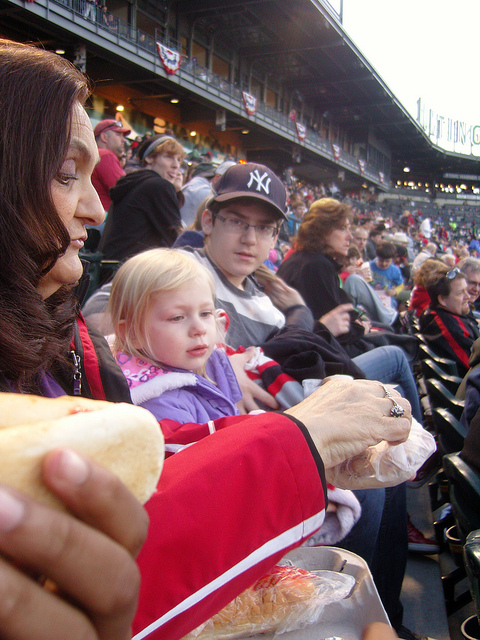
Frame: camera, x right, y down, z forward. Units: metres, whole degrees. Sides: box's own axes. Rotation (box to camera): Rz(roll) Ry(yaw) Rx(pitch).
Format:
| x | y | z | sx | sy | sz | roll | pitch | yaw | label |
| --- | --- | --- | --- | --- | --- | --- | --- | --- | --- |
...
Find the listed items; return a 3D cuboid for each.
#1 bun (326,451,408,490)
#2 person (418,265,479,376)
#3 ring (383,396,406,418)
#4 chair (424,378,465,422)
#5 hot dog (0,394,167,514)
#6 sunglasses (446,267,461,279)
| x | y | z | sx | sy | sz | roll | pitch | yaw | label |
| --- | --- | --- | --- | --- | --- | --- | --- | --- | --- |
| 0.250 | 0.295 | 1.086 | 0.121 | 0.041 | 0.086 | -5 | -6 | 9 | bun |
| 1.947 | -0.066 | 4.782 | 0.532 | 0.671 | 1.214 | 13 | 15 | 12 | person |
| 0.320 | 0.177 | 1.103 | 0.027 | 0.021 | 0.041 | 13 | 28 | -8 | ring |
| 1.263 | 0.490 | 3.304 | 0.250 | 0.264 | 0.207 | 0 | 5 | -10 | chair |
| -0.151 | 0.137 | 0.529 | 0.156 | 0.048 | 0.110 | 23 | 14 | -2 | hot dog |
| 1.989 | -0.428 | 5.015 | 0.124 | 0.113 | 0.039 | -6 | 28 | -41 | sunglasses |
